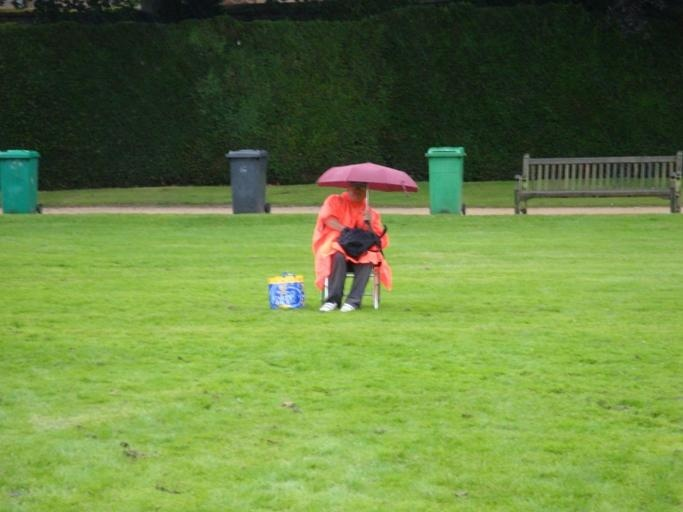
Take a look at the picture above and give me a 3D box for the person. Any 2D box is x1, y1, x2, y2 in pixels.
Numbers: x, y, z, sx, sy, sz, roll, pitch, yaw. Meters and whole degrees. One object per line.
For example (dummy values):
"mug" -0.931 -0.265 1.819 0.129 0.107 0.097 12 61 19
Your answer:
"person" 0.117 -0.161 16.753 1.047 1.693 0.908 3 -10 13

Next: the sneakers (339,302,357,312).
"sneakers" 0.077 0.626 16.364 0.203 0.104 0.167 1 5 -2

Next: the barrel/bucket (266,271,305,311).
"barrel/bucket" -0.681 0.443 16.416 0.447 0.380 0.422 -1 -3 0

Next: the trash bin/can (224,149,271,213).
"trash bin/can" -1.702 -1.280 24.651 1.032 1.164 0.978 -6 9 -29

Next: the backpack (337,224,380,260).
"backpack" 0.187 -0.165 16.438 0.429 0.172 0.409 -25 53 -21

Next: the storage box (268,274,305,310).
"storage box" -0.677 0.436 16.639 0.522 0.449 0.501 -2 -2 8

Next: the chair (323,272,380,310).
"chair" 0.197 0.439 16.768 0.641 0.440 0.482 0 -5 2
